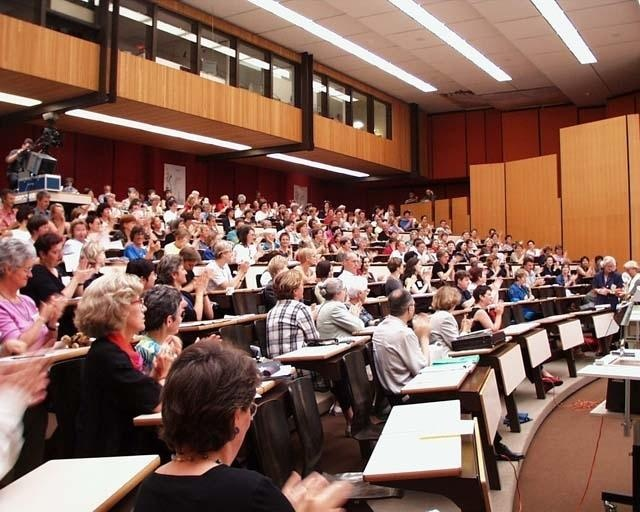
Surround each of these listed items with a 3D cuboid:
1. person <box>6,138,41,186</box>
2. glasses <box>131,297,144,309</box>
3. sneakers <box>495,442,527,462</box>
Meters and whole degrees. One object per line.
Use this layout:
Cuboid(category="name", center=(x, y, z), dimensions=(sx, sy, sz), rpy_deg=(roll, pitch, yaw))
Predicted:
Cuboid(category="person", center=(-4.815, -1.511, 7.808), dimensions=(0.333, 0.860, 1.247), rpy_deg=(5, 3, -33))
Cuboid(category="glasses", center=(-0.839, 0.213, 2.239), dimensions=(0.064, 0.061, 0.019), rpy_deg=(1, 27, 3))
Cuboid(category="sneakers", center=(1.401, 1.409, 3.585), dimensions=(0.298, 0.114, 0.094), rpy_deg=(0, -3, -15))
